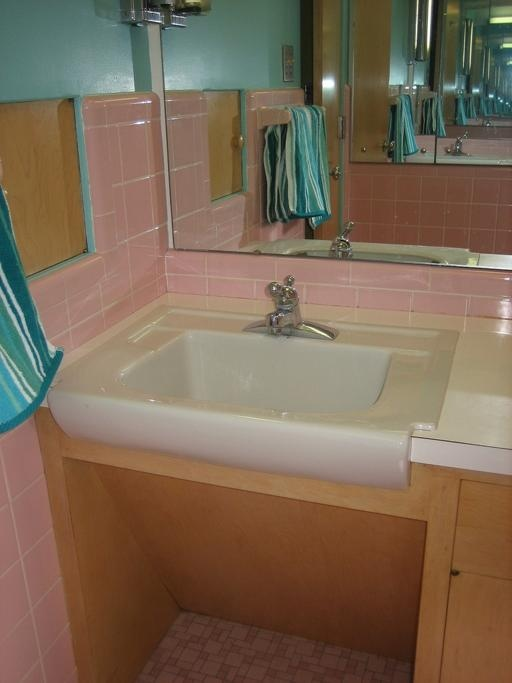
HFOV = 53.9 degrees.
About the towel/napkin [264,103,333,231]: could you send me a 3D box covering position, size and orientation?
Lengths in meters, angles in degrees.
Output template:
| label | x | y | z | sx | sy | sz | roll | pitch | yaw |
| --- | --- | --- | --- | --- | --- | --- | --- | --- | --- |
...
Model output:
| label | x | y | z | sx | sy | sz | roll | pitch | yaw |
| --- | --- | --- | --- | --- | --- | --- | --- | --- | --- |
| towel/napkin | 0.103 | -0.401 | 1.141 | 0.155 | 0.267 | 0.114 | -16 | 23 | -19 |
